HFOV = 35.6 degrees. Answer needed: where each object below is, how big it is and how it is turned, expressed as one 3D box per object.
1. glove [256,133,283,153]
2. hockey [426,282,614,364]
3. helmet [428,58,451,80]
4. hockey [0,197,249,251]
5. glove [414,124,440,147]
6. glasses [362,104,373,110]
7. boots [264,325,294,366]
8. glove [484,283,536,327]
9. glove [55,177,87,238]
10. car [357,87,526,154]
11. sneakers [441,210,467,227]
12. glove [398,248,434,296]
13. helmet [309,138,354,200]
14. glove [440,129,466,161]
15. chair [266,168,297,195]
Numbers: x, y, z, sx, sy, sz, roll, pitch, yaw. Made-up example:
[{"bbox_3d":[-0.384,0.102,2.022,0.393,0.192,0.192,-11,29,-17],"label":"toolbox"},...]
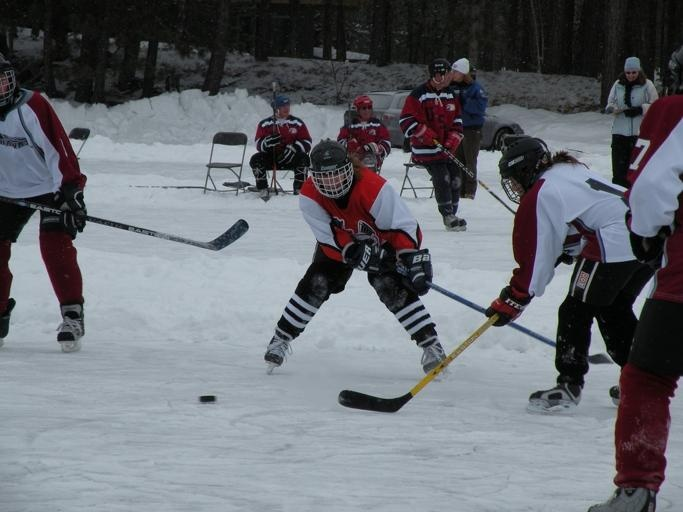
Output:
[{"bbox_3d":[-0.819,-1.270,11.913,0.253,0.169,0.101,-23,-19,4],"label":"glove"},{"bbox_3d":[1.124,0.448,6.683,1.166,0.239,0.058,24,25,14],"label":"hockey"},{"bbox_3d":[0.911,-1.749,9.935,0.204,0.155,0.166,-26,22,4],"label":"helmet"},{"bbox_3d":[-1.756,-0.243,8.617,1.607,0.108,0.201,14,32,-12],"label":"hockey"},{"bbox_3d":[0.768,-1.114,9.803,0.240,0.152,0.096,41,9,9],"label":"glove"},{"bbox_3d":[0.284,-1.637,11.568,0.089,0.068,0.037,-3,12,-32],"label":"glasses"},{"bbox_3d":[-0.391,0.554,6.668,0.114,0.159,0.329,37,10,-15],"label":"boots"},{"bbox_3d":[0.940,0.278,5.977,0.175,0.283,0.123,46,7,23],"label":"glove"},{"bbox_3d":[-1.687,-0.312,6.658,0.111,0.214,0.338,1,50,-32],"label":"glove"},{"bbox_3d":[1.199,-2.049,16.170,3.052,0.888,1.214,-3,11,-18],"label":"car"},{"bbox_3d":[1.038,-0.325,9.804,0.117,0.104,0.226,-21,11,-18],"label":"sneakers"},{"bbox_3d":[0.455,0.099,6.455,0.261,0.248,0.114,2,-5,9],"label":"glove"},{"bbox_3d":[-0.057,-0.501,6.400,0.283,0.309,0.345,-22,30,7],"label":"helmet"},{"bbox_3d":[1.063,-1.042,9.997,0.342,0.307,0.113,6,-19,48],"label":"glove"},{"bbox_3d":[-0.751,-0.893,12.749,0.304,0.137,0.471,-1,13,1],"label":"chair"}]
